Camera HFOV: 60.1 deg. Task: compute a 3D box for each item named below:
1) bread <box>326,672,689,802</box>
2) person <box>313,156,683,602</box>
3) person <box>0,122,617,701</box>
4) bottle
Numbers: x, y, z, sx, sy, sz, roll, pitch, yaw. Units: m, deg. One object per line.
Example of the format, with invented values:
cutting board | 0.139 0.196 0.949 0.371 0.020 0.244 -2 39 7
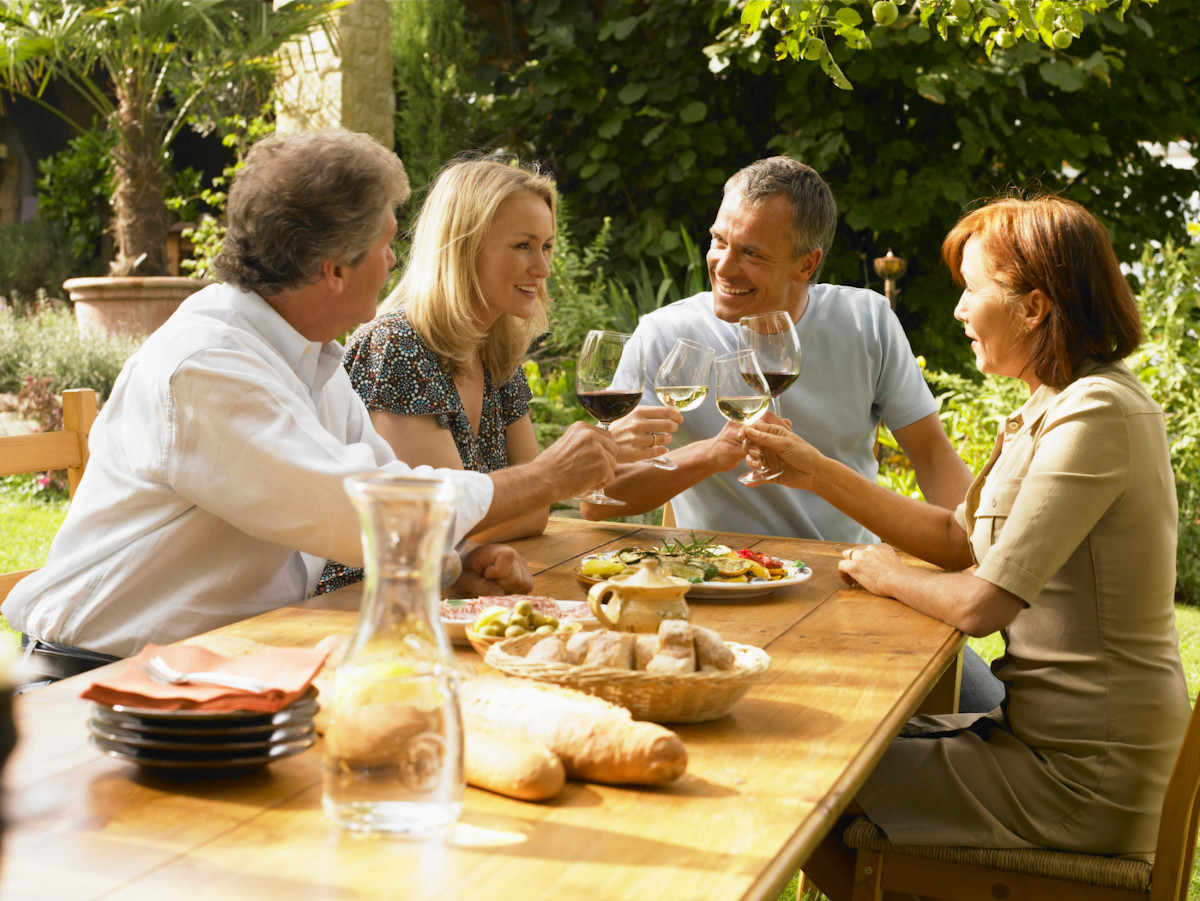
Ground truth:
bread | -0.067 0.317 1.197 0.365 0.067 0.189 9 11 43
person | -0.248 -0.276 3.294 1.116 1.500 1.057 -1 7 7
person | -0.450 -0.215 2.420 1.348 1.338 0.806 1 18 -6
bottle | -0.204 0.212 1.027 0.135 0.374 0.079 -1 11 -15
